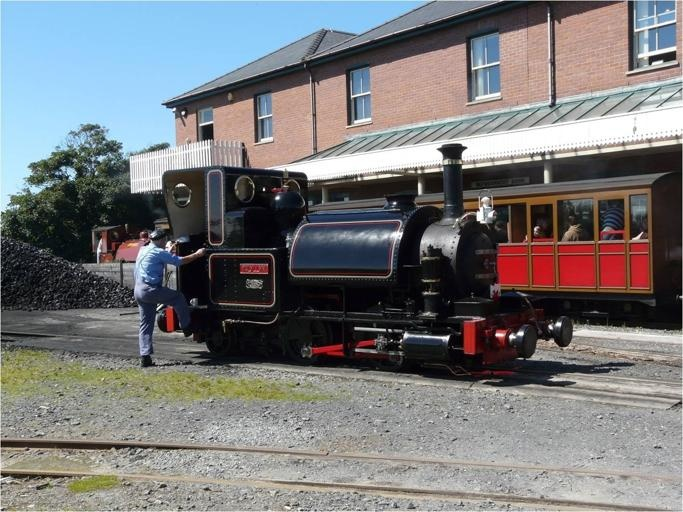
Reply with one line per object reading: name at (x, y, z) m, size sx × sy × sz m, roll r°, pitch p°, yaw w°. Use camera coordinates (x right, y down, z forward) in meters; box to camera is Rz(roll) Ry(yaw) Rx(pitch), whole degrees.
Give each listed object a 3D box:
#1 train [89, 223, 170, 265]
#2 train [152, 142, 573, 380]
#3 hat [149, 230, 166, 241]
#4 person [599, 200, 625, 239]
train at (-10.971, -0.449, 35.540) m, size 4.075 × 2.249 × 2.229 m, roll 2°, pitch 1°, yaw 7°
train at (-0.217, -0.048, 12.541) m, size 8.278 × 3.730 × 3.278 m, roll 0°, pitch 3°, yaw 35°
hat at (-3.218, -0.401, 11.666) m, size 0.235 × 0.180 × 0.183 m, roll -20°, pitch -40°, yaw -9°
person at (5.833, -0.795, 14.267) m, size 0.562 × 0.717 × 0.425 m, roll -2°, pitch 1°, yaw 24°
